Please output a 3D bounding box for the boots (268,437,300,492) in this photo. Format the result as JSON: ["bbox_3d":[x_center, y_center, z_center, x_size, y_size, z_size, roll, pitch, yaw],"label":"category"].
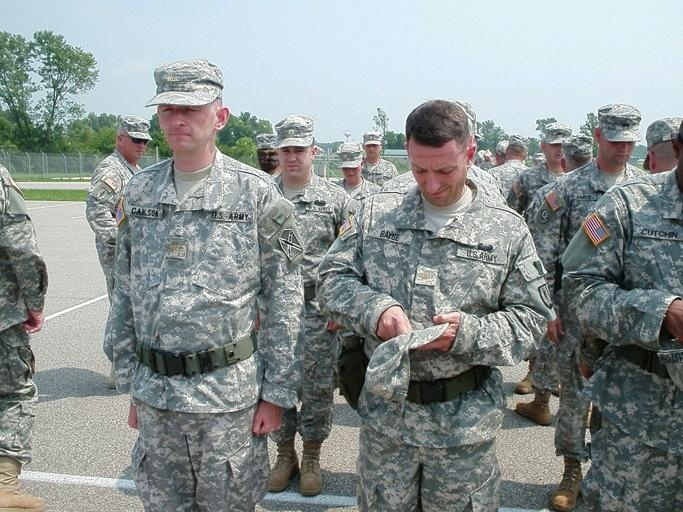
[{"bbox_3d":[-0.444,1.551,4.805,0.162,0.304,0.433,-2,7,17],"label":"boots"}]

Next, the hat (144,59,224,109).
[{"bbox_3d":[-0.874,-0.958,3.552,0.412,0.257,0.541,-1,15,13],"label":"hat"}]

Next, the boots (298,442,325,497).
[{"bbox_3d":[-0.225,1.556,4.764,0.174,0.291,0.488,1,5,1],"label":"boots"}]

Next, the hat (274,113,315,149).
[{"bbox_3d":[-0.422,-1.060,5.391,0.382,0.258,0.524,-7,15,-7],"label":"hat"}]

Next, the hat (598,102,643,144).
[{"bbox_3d":[2.166,-1.024,4.892,0.360,0.161,0.551,10,25,33],"label":"hat"}]

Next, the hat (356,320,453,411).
[{"bbox_3d":[0.331,0.483,2.963,0.286,0.152,0.463,-26,-22,10],"label":"hat"}]
